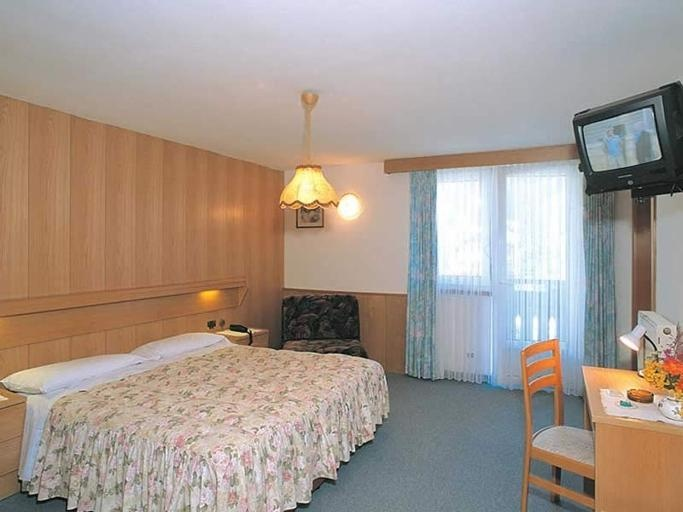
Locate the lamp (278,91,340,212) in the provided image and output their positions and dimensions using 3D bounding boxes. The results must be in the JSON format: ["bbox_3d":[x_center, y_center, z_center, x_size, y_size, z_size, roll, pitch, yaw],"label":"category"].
[{"bbox_3d":[-0.272,-0.929,4.538,0.490,1.010,0.929,2,12,-3],"label":"lamp"}]

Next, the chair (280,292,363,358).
[{"bbox_3d":[-0.276,0.863,6.641,0.938,0.945,0.729,-1,-8,0],"label":"chair"}]
